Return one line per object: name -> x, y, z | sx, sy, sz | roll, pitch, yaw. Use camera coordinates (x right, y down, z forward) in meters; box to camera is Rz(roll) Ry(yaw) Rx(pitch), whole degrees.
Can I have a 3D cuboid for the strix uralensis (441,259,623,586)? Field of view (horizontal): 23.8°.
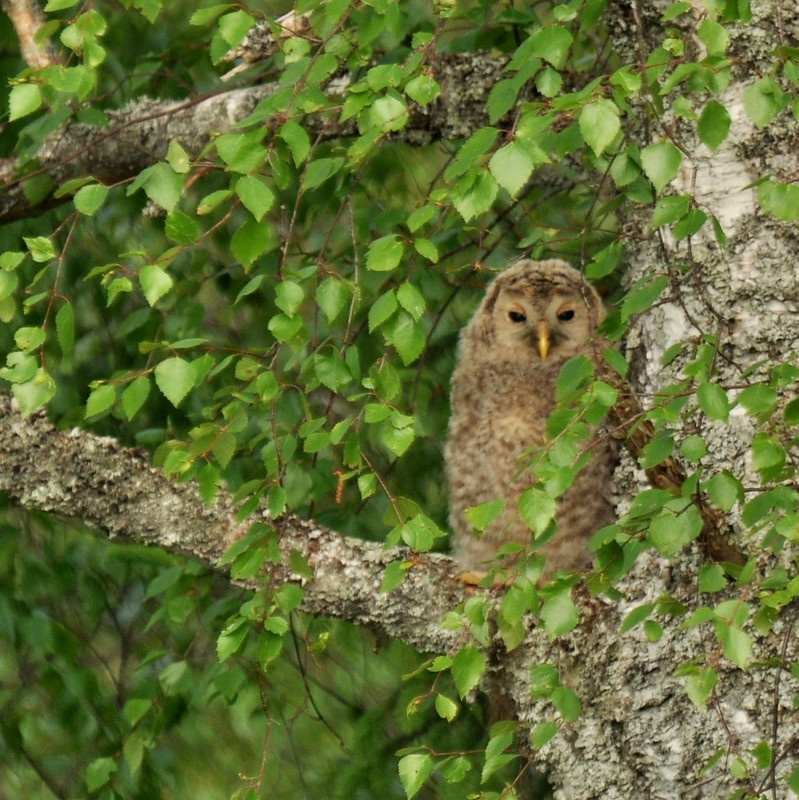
strix uralensis -> 0.328, 0.019, 4.844 | 0.454, 0.950, 0.839 | -4, 34, 2
